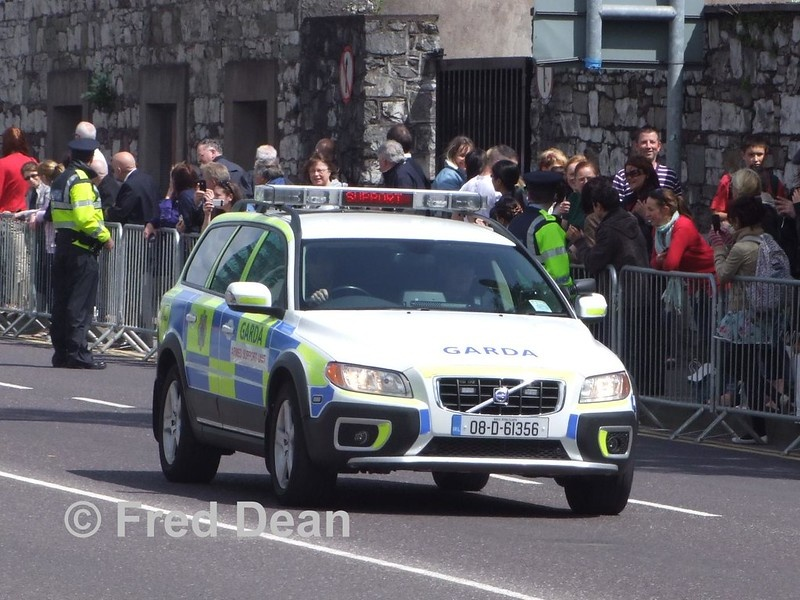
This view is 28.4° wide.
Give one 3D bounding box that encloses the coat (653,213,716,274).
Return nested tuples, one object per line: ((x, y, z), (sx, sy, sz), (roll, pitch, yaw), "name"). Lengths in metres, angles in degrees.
((2.864, -0.685, 15.687), (0.284, 0.564, 0.769), (-5, -12, 2), "coat")

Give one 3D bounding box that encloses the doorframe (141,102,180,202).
((-4.253, -2.971, 28.858), (0.656, 1.324, 0.685), (-9, 11, -38), "doorframe")

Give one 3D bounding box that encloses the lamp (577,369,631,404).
((1.472, 0.627, 11.205), (0.528, 0.196, 0.105), (-5, 10, -45), "lamp")

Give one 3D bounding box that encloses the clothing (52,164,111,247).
((-3.711, -1.090, 18.403), (0.397, 0.850, 0.799), (-10, 16, -29), "clothing")

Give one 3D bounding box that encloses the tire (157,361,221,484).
((-1.627, 0.981, 12.346), (0.244, 0.910, 0.793), (-1, 6, -26), "tire")

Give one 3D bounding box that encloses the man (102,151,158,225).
((-3.443, -1.332, 20.105), (0.429, 1.023, 0.373), (30, 44, 34), "man")

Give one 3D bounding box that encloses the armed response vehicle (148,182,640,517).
((-0.086, 0.424, 11.789), (3.725, 2.352, 2.077), (4, 7, 12), "armed response vehicle")

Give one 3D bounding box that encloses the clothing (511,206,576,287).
((1.400, -0.612, 15.278), (0.354, 0.717, 0.760), (-17, 24, -17), "clothing")

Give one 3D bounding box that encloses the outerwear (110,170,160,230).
((-3.335, -1.246, 19.882), (0.343, 0.571, 0.552), (18, 26, 40), "outerwear")

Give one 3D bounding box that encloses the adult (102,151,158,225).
((-3.423, -1.317, 20.015), (0.292, 0.897, 0.376), (-8, 10, -1), "adult")

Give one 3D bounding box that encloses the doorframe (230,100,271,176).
((-2.389, -2.973, 26.142), (0.580, 1.077, 0.654), (-15, 17, -12), "doorframe")

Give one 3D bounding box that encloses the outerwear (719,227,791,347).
((3.277, 0.022, 14.707), (0.492, 0.944, 0.479), (5, 0, -16), "outerwear")

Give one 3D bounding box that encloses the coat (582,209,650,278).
((2.211, -0.574, 15.770), (0.550, 0.751, 0.636), (-18, 25, -10), "coat")
